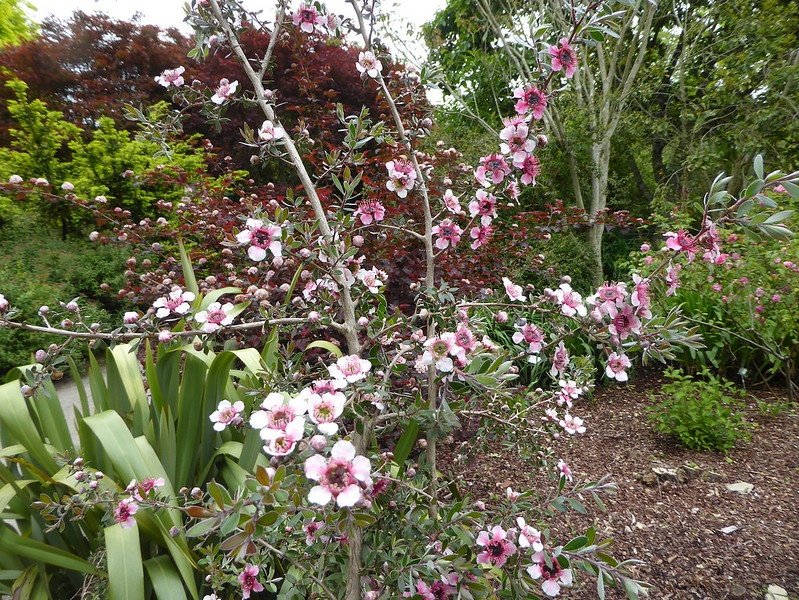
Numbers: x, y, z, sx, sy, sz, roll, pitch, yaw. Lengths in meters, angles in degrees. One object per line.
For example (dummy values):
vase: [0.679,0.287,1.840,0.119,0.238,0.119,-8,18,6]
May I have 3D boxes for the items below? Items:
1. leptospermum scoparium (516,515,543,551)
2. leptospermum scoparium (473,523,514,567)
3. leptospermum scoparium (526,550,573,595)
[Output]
leptospermum scoparium: [0.581,1.077,2.761,0.149,0.140,0.053,11,-36,-26]
leptospermum scoparium: [0.430,1.113,2.719,0.184,0.179,0.121,-5,13,21]
leptospermum scoparium: [0.678,1.252,2.698,0.192,0.231,0.117,-4,14,26]
